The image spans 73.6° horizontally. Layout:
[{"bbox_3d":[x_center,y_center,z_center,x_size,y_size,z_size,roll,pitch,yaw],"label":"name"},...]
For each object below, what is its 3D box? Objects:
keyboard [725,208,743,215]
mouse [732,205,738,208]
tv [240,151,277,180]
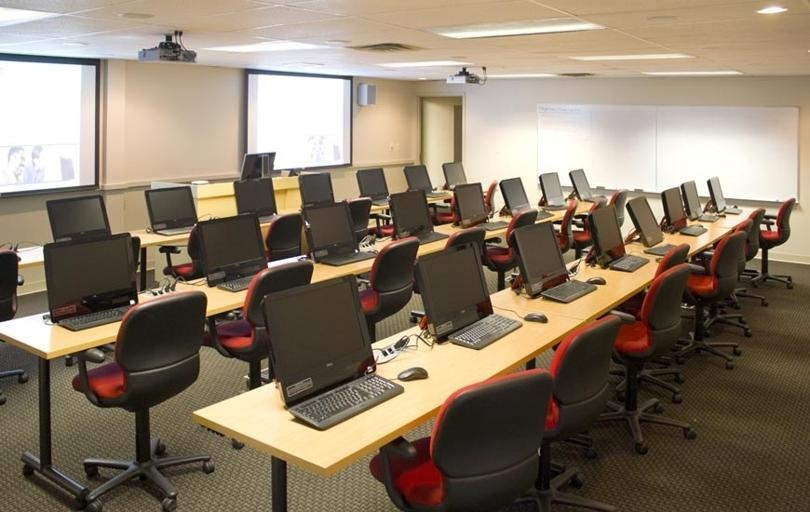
[{"bbox_3d":[5.154,-0.687,8.479,0.154,0.073,0.221,5,15,37],"label":"keyboard"},{"bbox_3d":[5.743,-0.854,9.386,0.139,0.041,0.127,-10,11,-43],"label":"mouse"},{"bbox_3d":[-2.285,-1.389,8.400,0.126,0.473,0.760,16,21,37],"label":"tv"}]
